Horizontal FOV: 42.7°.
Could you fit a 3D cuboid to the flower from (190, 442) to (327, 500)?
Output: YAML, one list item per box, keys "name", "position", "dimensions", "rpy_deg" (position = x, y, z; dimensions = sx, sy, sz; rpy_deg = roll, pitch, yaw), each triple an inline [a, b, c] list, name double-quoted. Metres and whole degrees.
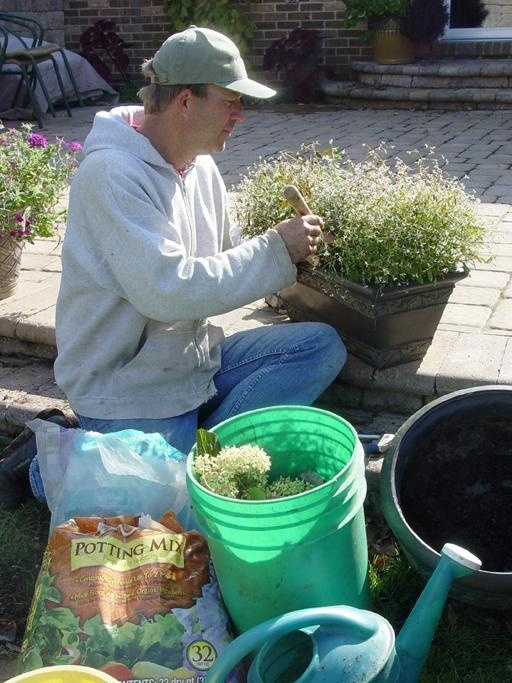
- name: "flower"
  position: [-0.031, 0.330, 1.593]
  dimensions: [0.212, 0.057, 0.200]
  rpy_deg: [2, 6, 31]

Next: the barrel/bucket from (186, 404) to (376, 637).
- name: "barrel/bucket"
  position: [0.060, 0.445, 1.649]
  dimensions: [0.440, 0.505, 0.444]
  rpy_deg: [-1, 30, 0]

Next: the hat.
- name: "hat"
  position: [-0.136, -0.878, 2.041]
  dimensions: [0.423, 0.166, 0.237]
  rpy_deg: [4, 27, -9]
